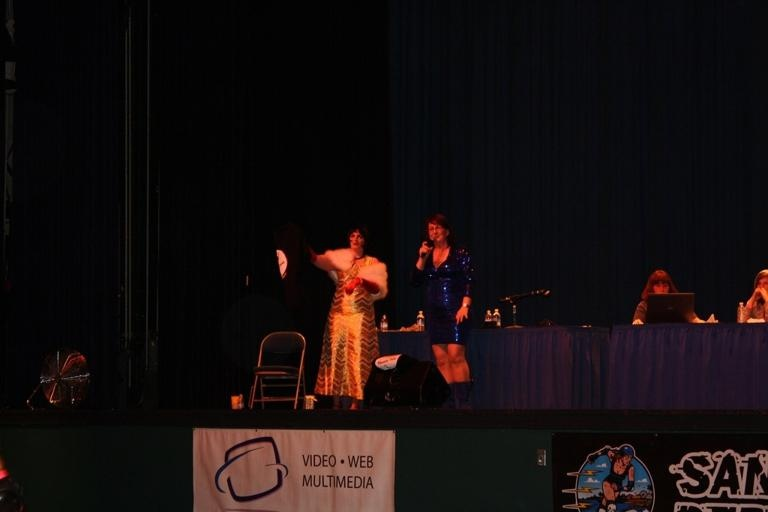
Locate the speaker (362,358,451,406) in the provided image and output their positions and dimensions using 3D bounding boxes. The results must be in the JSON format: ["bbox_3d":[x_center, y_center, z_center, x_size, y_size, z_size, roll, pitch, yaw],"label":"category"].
[{"bbox_3d":[0.165,1.054,8.052,0.530,0.422,0.431,-5,-4,32],"label":"speaker"}]

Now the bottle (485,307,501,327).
[{"bbox_3d":[1.254,0.723,11.431,0.154,0.268,0.081,1,-3,18],"label":"bottle"}]

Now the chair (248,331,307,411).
[{"bbox_3d":[-1.236,1.308,11.187,0.601,1.031,0.758,-2,-17,10],"label":"chair"}]

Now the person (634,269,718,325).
[{"bbox_3d":[3.009,0.386,10.619,0.844,0.654,0.668,-2,-4,17],"label":"person"}]
